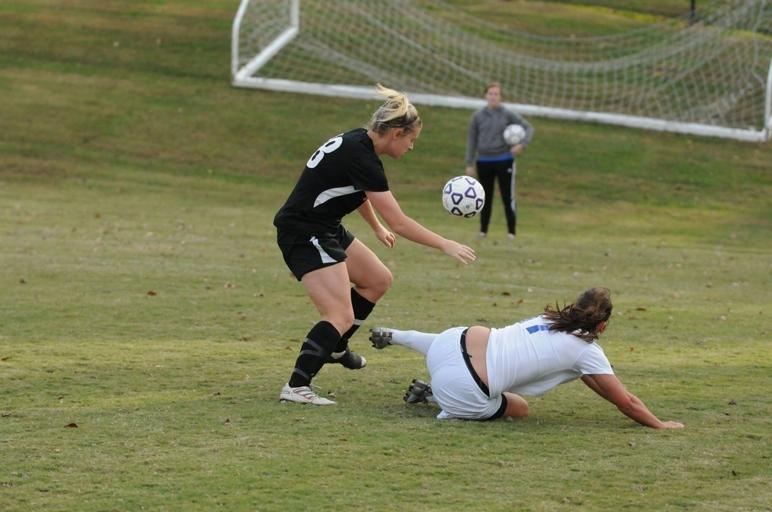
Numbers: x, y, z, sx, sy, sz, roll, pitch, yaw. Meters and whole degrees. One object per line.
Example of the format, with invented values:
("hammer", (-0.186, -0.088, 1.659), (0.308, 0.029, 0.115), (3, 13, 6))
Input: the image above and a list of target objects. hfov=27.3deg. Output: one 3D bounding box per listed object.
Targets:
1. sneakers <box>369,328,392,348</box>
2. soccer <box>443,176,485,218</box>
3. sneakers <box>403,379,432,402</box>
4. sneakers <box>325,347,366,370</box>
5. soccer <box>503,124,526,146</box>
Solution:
("sneakers", (-0.053, 0.871, 16.867), (0.256, 0.159, 0.230), (-3, 6, -25))
("soccer", (0.910, -0.650, 18.186), (0.563, 0.454, 0.487), (-4, 18, -23))
("sneakers", (0.343, 1.446, 16.718), (0.328, 0.238, 0.223), (12, 9, -7))
("sneakers", (-0.395, 1.109, 17.176), (0.535, 0.210, 0.159), (2, 46, -26))
("soccer", (1.710, -1.669, 21.775), (0.354, 0.271, 0.295), (5, 15, -5))
